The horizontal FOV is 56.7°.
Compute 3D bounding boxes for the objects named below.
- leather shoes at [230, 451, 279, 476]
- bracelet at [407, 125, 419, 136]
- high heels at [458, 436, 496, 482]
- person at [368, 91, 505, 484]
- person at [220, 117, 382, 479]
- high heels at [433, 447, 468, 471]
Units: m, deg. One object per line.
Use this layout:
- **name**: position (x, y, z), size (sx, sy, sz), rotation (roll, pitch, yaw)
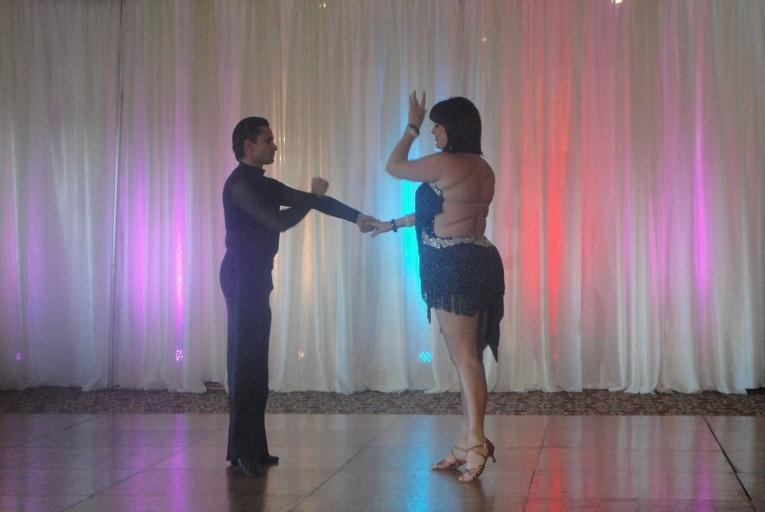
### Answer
- **leather shoes**: position (-0.785, 1.234, 4.201), size (0.309, 0.129, 0.105), rotation (-9, -7, 27)
- **bracelet**: position (0.186, -0.745, 4.230), size (0.052, 0.027, 0.072), rotation (25, -19, 21)
- **high heels**: position (0.537, 1.157, 4.068), size (0.190, 0.232, 0.295), rotation (2, -5, 10)
- **person**: position (0.358, 0.133, 4.157), size (0.686, 2.255, 0.416), rotation (3, -5, 8)
- **person**: position (-0.646, 0.224, 4.232), size (0.691, 2.093, 0.377), rotation (5, -5, -14)
- **high heels**: position (0.359, 1.195, 4.181), size (0.250, 0.101, 0.093), rotation (-15, -5, 20)
